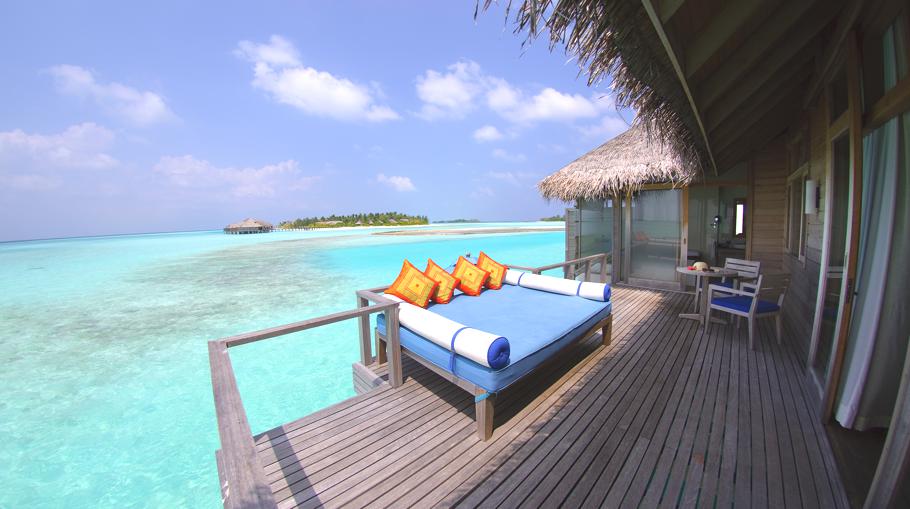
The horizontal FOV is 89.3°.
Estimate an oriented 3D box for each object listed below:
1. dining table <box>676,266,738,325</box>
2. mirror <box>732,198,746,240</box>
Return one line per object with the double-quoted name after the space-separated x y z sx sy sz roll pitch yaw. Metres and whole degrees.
6.410 1.074 11.936 1.351 1.448 1.409 -3 4 -39 "dining table"
10.750 -1.403 17.421 0.316 1.370 0.513 -2 7 14 "mirror"
